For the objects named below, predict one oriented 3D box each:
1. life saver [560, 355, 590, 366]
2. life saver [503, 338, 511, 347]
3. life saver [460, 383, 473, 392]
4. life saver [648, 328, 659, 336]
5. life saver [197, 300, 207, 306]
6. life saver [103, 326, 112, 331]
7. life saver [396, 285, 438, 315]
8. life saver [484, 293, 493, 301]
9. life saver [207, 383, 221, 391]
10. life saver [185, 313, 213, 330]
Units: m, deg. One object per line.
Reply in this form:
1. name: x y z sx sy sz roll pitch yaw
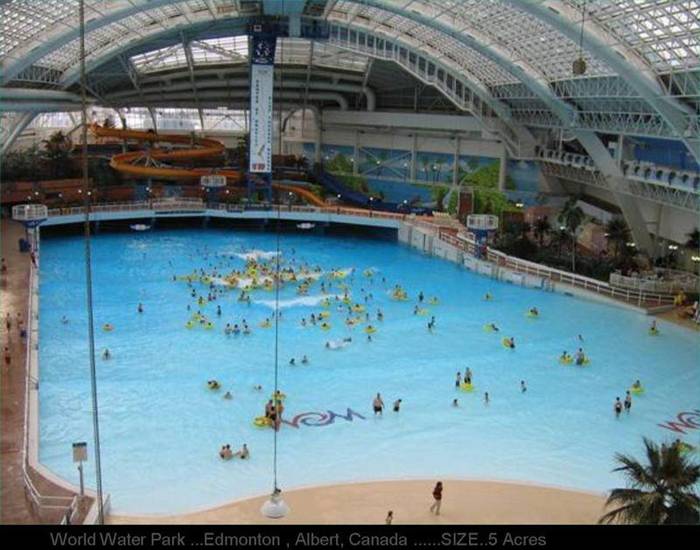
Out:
1. life saver: 10.583 4.159 32.366 0.604 0.268 0.758 0 5 0
2. life saver: 8.044 3.444 34.677 0.352 0.197 0.377 -2 10 0
3. life saver: 5.057 4.867 29.416 0.330 0.158 0.371 -1 12 -2
4. life saver: 16.041 2.964 35.627 0.508 0.358 0.473 8 16 26
5. life saver: -8.913 1.649 40.549 0.345 0.369 0.356 3 10 25
6. life saver: -12.877 2.777 35.919 0.549 0.166 0.482 2 15 4
7. life saver: 4.131 1.642 42.026 1.793 0.576 1.734 7 22 19
8. life saver: 8.839 1.412 43.212 0.376 0.431 0.389 0 5 5
9. life saver: -5.858 4.797 29.029 0.336 0.153 0.352 5 14 2
10. life saver: -8.332 2.581 37.227 0.854 0.307 0.968 3 15 -1
